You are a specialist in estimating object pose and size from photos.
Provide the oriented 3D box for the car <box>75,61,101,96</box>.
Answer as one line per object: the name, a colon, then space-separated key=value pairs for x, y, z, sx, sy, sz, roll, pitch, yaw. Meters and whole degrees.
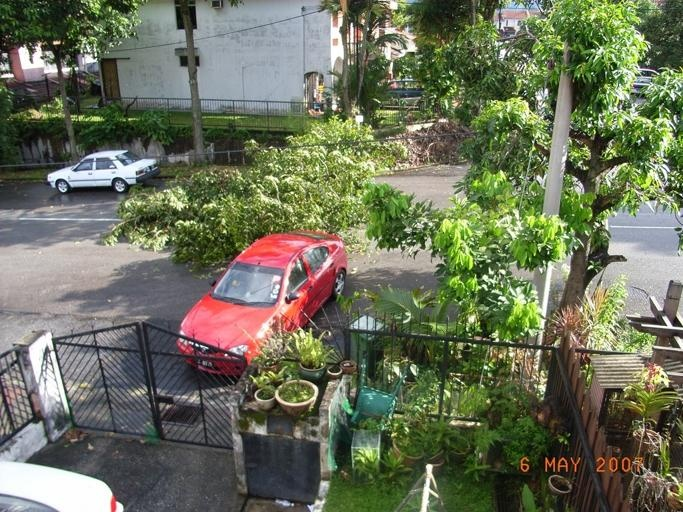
car: x=-18.229 y=-12.911 z=41.211 sx=0.858 sy=2.310 sz=4.603 roll=-9 pitch=19 yaw=-25

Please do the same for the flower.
flower: x=3.932 y=1.894 z=7.252 sx=0.600 sy=1.025 sz=0.898 roll=9 pitch=20 yaw=33

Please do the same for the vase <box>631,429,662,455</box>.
vase: x=3.847 y=2.353 z=7.153 sx=0.282 sy=0.385 sz=0.314 roll=-9 pitch=13 yaw=8

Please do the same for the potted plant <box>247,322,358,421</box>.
potted plant: x=-0.678 y=1.905 z=9.091 sx=1.625 sy=1.302 sz=1.481 roll=-2 pitch=17 yaw=0

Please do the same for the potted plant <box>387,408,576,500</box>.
potted plant: x=2.011 y=2.848 z=8.481 sx=1.578 sy=0.597 sz=1.328 roll=0 pitch=19 yaw=4
